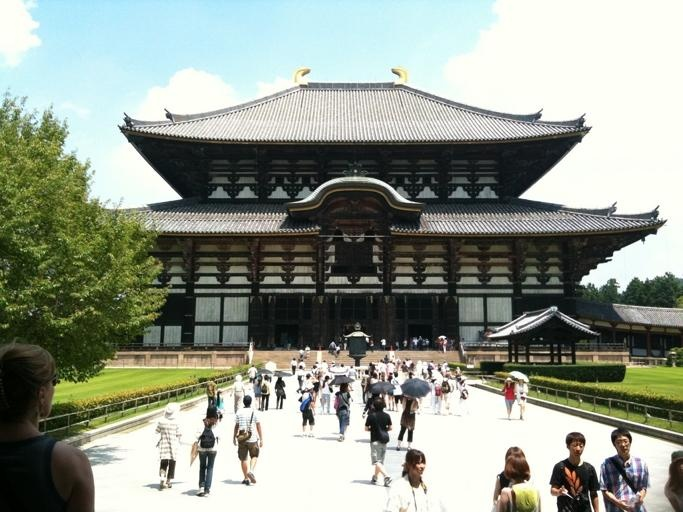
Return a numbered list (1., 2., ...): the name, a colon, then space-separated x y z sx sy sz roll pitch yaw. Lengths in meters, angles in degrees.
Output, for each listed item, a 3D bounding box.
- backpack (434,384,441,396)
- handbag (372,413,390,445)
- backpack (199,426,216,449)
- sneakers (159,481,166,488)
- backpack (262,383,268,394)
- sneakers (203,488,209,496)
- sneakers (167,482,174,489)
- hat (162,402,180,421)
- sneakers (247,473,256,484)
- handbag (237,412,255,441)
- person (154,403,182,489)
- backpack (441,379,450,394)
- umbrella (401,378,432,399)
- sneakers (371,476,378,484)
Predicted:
1. backpack: 4.218 5.796 27.609 0.421 0.572 0.331 -1 -24 2
2. handbag: 1.054 4.508 16.704 0.770 0.858 0.594 1 -15 -2
3. backpack: -3.295 4.469 15.677 0.453 0.484 0.196 0 -7 -5
4. sneakers: -4.588 5.837 16.287 0.144 0.205 0.128 1 -12 -7
5. backpack: -3.177 5.547 26.603 0.277 0.384 0.674 2 -12 -9
6. sneakers: -3.333 5.825 15.717 0.125 0.172 0.228 1 -12 -7
7. sneakers: -4.448 5.921 16.491 0.069 0.088 0.196 2 -4 6
8. hat: -4.431 4.031 16.596 0.410 0.517 0.522 13 -5 -3
9. sneakers: -2.349 5.795 16.601 0.140 0.344 0.155 -15 4 -6
10. handbag: -2.528 4.501 16.792 0.673 0.665 0.483 2 -11 -8
11. person: -4.500 4.898 16.461 0.645 2.154 0.711 3 -12 -16
12. backpack: 4.560 5.645 27.486 0.361 0.490 0.480 -10 -12 3
13. umbrella: 2.285 4.033 19.534 0.833 0.587 1.013 -1 -12 5
14. sneakers: 0.877 5.880 16.720 0.150 0.196 0.200 0 -12 -2
